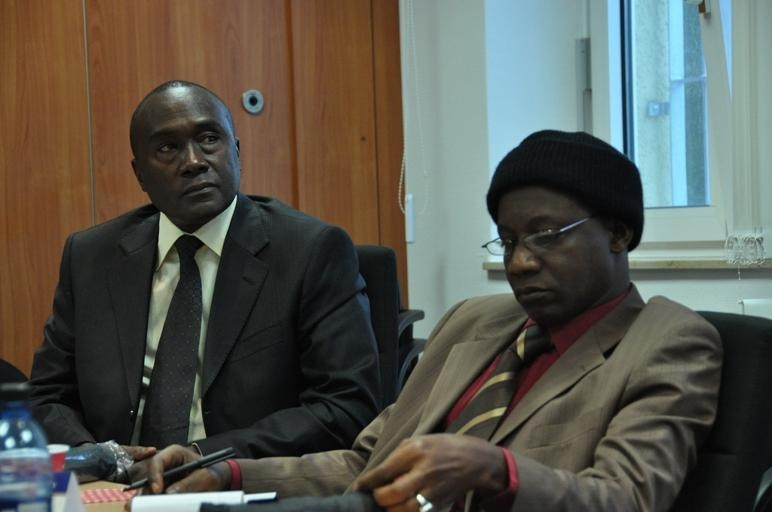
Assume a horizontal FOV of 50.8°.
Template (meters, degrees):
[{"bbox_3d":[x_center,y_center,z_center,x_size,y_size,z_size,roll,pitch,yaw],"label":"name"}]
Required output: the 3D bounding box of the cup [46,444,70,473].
[{"bbox_3d":[-0.845,0.515,2.090,0.088,0.069,0.088,-1,-13,0],"label":"cup"}]

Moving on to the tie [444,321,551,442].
[{"bbox_3d":[0.328,0.346,2.277,0.140,0.071,0.539,24,51,23],"label":"tie"}]
